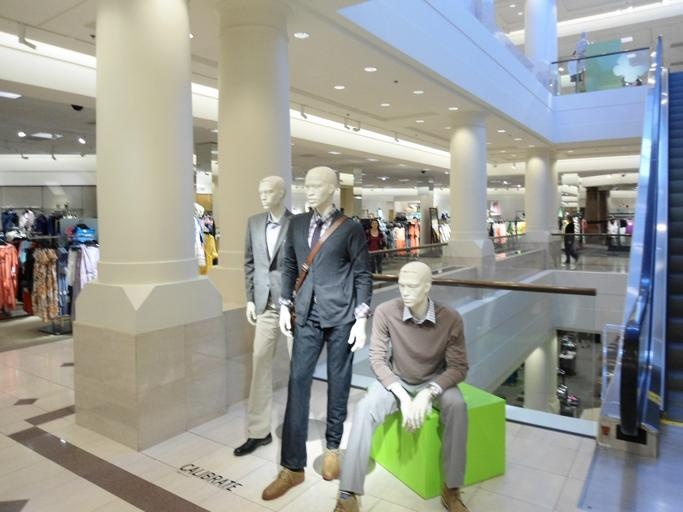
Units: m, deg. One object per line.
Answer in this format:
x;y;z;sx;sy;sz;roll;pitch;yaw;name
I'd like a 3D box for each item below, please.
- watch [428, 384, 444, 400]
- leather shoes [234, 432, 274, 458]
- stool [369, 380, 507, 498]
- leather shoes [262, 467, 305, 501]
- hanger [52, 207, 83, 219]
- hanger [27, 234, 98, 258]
0.604;0.896;2.991;0.078;0.075;0.093;14;-16;15;watch
-0.694;1.522;3.689;0.095;0.127;0.287;-6;-4;43;leather shoes
0.750;1.312;3.365;0.711;0.558;0.714;-4;7;-31;stool
-0.387;1.568;3.191;0.122;0.136;0.361;-7;0;41;leather shoes
-8.124;-1.314;13.915;0.828;0.303;0.835;-3;5;-31;hanger
-4.295;-0.150;7.188;0.268;0.368;0.903;6;9;39;hanger
